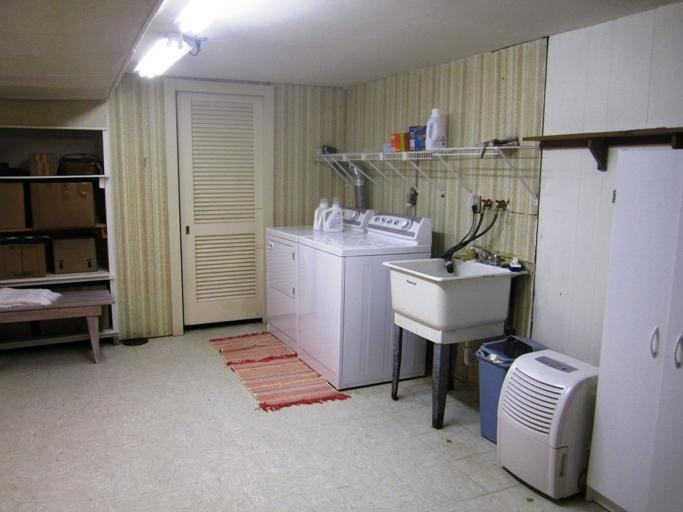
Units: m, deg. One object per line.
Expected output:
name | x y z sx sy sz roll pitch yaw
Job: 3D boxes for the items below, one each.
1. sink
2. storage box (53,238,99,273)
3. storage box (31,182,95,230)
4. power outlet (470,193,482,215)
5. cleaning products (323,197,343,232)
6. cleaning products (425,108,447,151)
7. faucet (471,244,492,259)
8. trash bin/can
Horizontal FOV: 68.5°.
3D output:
sink | 0.692 0.296 3.487 0.628 0.428 0.714 -2 8 -23
storage box | -2.389 -0.001 4.516 0.313 0.307 0.316 -1 1 -31
storage box | -2.475 -0.441 4.527 0.637 0.497 0.363 -3 6 -26
power outlet | 1.016 -0.388 3.829 0.079 0.155 0.099 4 14 13
cleaning products | -0.075 -0.384 4.706 0.196 0.324 0.195 -1 -2 14
cleaning products | 0.723 -0.986 3.908 0.147 0.315 0.232 3 14 9
faucet | 1.031 -0.026 3.748 0.064 0.082 0.205 -4 14 -18
trash bin/can | 1.014 0.870 3.283 0.460 0.682 0.383 -8 16 -34
